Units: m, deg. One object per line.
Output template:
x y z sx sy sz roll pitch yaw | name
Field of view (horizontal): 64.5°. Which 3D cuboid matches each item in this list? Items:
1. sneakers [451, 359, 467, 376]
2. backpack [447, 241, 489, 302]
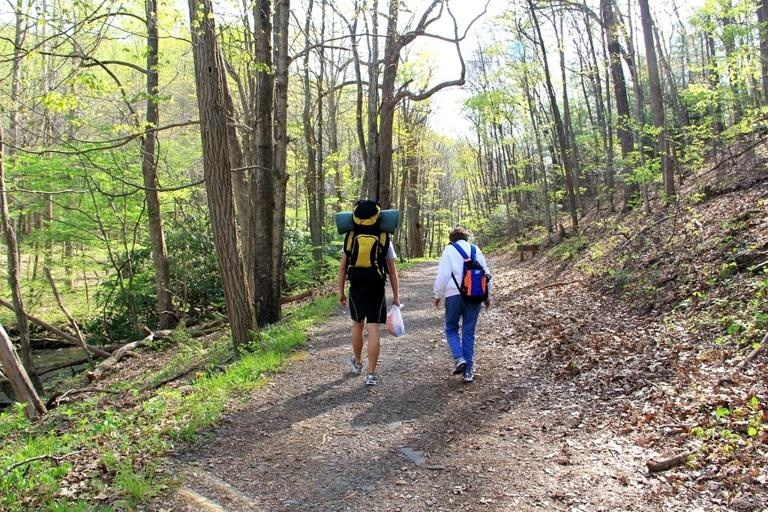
1.478 2.216 12.100 0.263 0.262 0.357 -10 3 -13 | sneakers
1.696 0.326 11.959 0.737 0.918 0.351 -9 4 8 | backpack
